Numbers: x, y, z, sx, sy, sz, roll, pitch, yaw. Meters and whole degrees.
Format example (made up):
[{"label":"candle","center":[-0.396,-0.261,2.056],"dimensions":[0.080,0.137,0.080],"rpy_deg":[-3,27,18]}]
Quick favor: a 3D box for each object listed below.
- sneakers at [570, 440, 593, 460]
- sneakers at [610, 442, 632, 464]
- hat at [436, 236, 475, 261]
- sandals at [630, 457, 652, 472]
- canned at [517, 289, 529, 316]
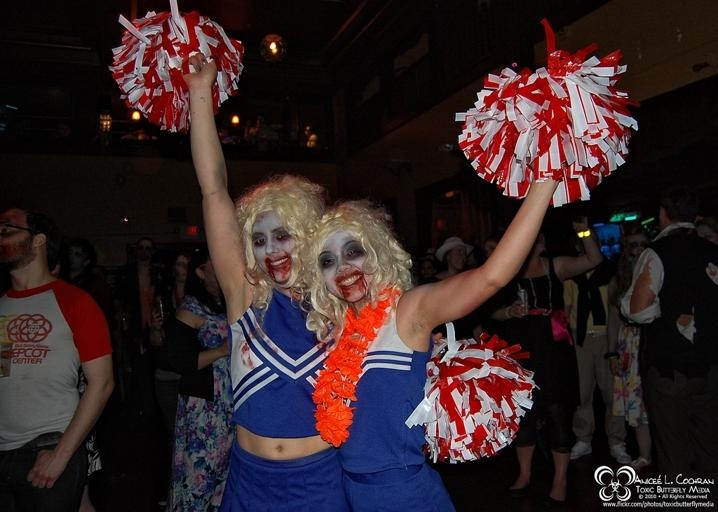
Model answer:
[{"label":"sneakers","center":[2.168,1.852,5.321],"dimensions":[0.375,0.167,0.138],"rpy_deg":[7,-13,-37]},{"label":"sneakers","center":[2.405,1.816,5.160],"dimensions":[0.183,0.151,0.237],"rpy_deg":[-2,-6,24]},{"label":"hat","center":[0.935,-0.107,5.687],"dimensions":[0.256,0.111,0.290],"rpy_deg":[-31,-22,25]},{"label":"sandals","center":[2.522,1.857,4.999],"dimensions":[0.193,0.095,0.125],"rpy_deg":[0,-5,5]},{"label":"canned","center":[1.315,0.372,4.500],"dimensions":[0.077,0.210,0.138],"rpy_deg":[-2,-5,20]}]
